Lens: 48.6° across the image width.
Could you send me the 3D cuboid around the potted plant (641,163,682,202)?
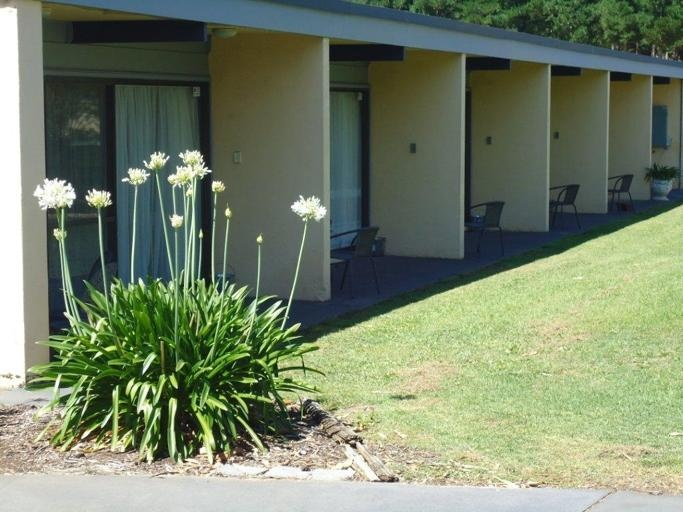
[{"bbox_3d":[7.556,-1.749,17.908,0.497,0.819,1.060,6,12,42],"label":"potted plant"}]
